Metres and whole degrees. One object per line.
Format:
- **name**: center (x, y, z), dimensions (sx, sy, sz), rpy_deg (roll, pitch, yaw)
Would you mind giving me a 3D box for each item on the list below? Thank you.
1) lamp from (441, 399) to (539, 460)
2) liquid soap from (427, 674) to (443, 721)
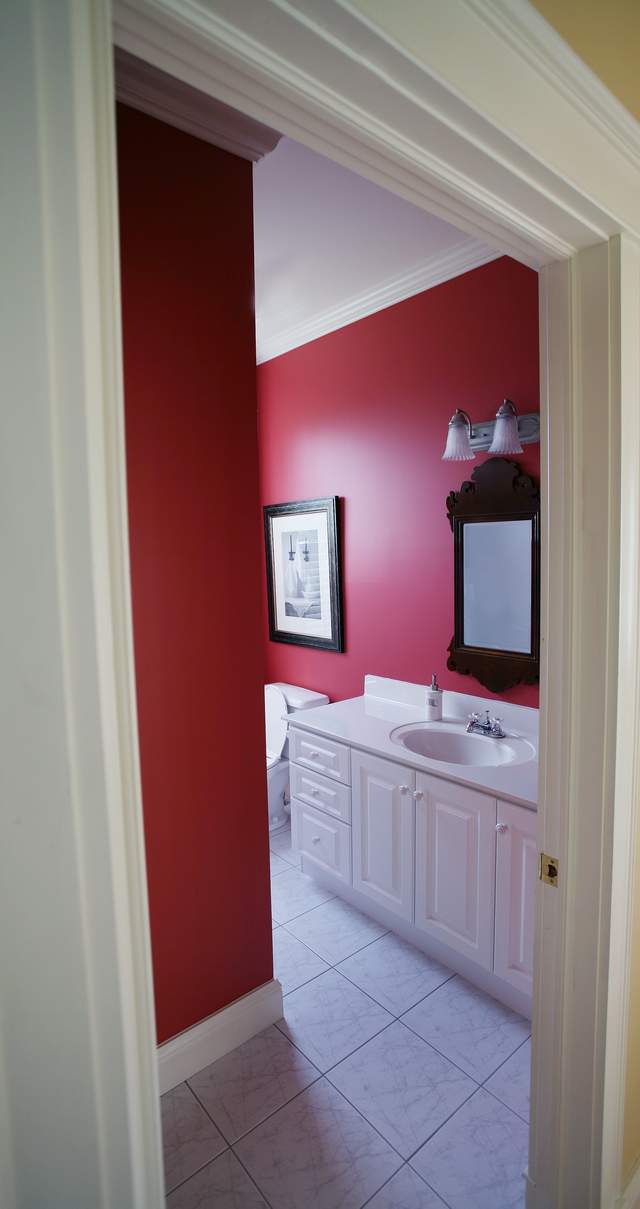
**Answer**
- **lamp**: center (0.476, -0.504, 2.488), dimensions (0.185, 0.151, 0.371), rpy_deg (-5, 7, -27)
- **liquid soap**: center (0.369, 0.309, 2.720), dimensions (0.046, 0.126, 0.060), rpy_deg (2, 7, 30)
